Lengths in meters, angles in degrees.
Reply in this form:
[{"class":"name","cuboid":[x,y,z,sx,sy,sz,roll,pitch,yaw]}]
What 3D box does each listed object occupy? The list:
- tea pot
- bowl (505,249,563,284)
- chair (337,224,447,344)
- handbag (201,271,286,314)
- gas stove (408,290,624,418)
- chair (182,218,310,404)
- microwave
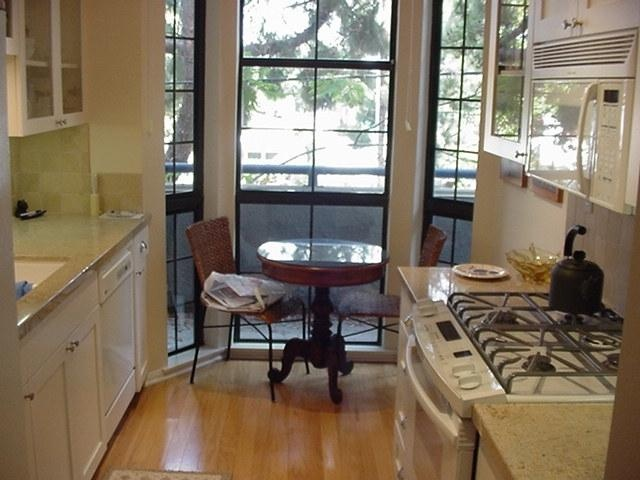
[{"class":"tea pot","cuboid":[0.888,0.093,1.822,0.201,0.290,0.209,-1,11,0]},{"class":"bowl","cuboid":[1.014,0.123,2.540,0.211,0.098,0.220,-6,10,1]},{"class":"chair","cuboid":[0.445,0.331,3.826,0.539,0.779,0.455,3,15,9]},{"class":"handbag","cuboid":[-0.535,0.349,3.543,0.316,0.127,0.356,8,14,12]},{"class":"gas stove","cuboid":[0.655,0.365,1.761,0.369,0.109,0.436,0,11,0]},{"class":"chair","cuboid":[-0.512,0.418,3.716,0.682,1.080,0.638,3,15,13]},{"class":"microwave","cuboid":[0.811,-0.308,1.648,0.248,0.340,0.497,-1,13,-5]}]
